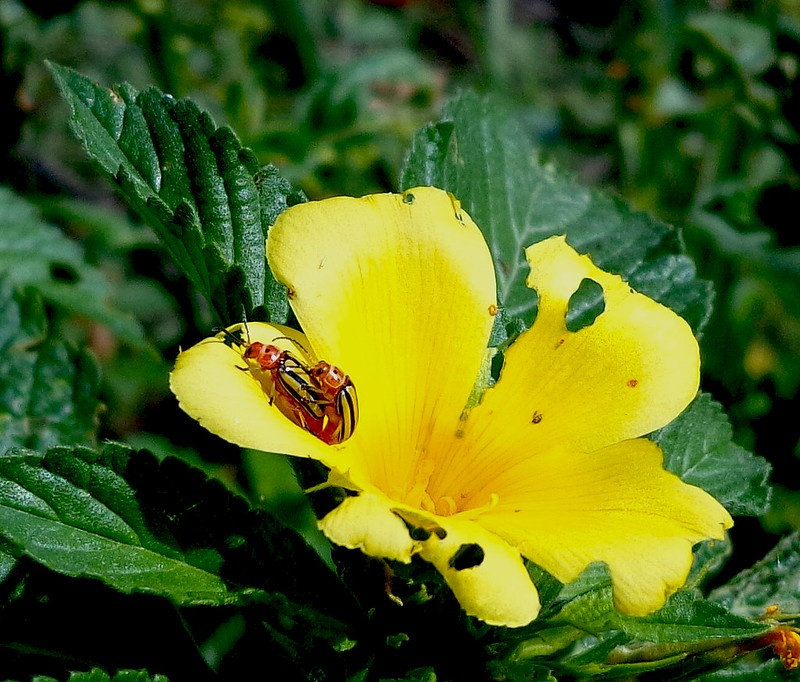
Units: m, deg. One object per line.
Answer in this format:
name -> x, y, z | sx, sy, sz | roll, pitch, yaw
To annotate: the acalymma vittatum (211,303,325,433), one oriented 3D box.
acalymma vittatum -> -0.223, 0.045, 1.692 | 0.064, 0.224, 0.154 | -45, 36, 9
